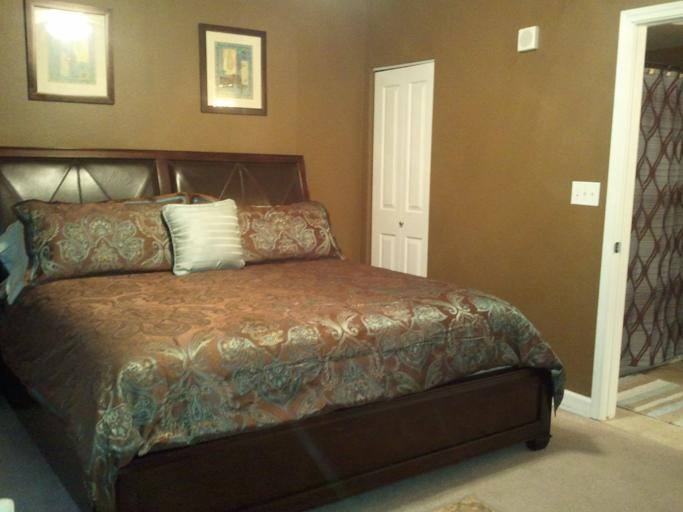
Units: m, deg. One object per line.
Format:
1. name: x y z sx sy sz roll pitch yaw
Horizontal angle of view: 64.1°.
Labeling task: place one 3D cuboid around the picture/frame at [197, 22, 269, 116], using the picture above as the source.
1. picture/frame: -0.903 -1.551 4.434 0.767 0.948 0.035 -3 10 -30
